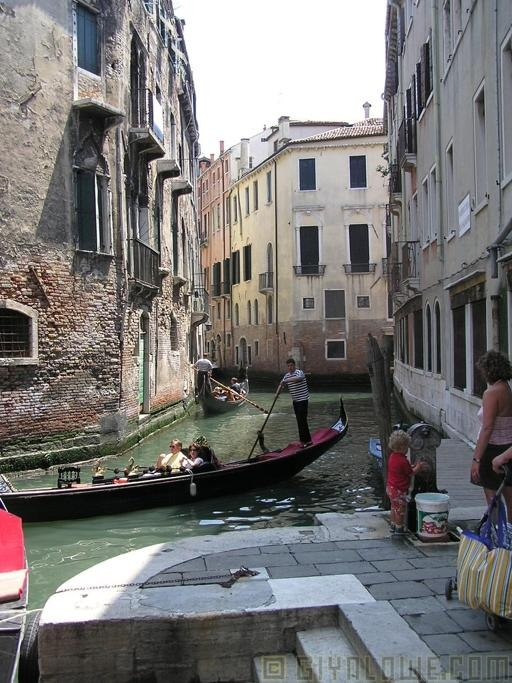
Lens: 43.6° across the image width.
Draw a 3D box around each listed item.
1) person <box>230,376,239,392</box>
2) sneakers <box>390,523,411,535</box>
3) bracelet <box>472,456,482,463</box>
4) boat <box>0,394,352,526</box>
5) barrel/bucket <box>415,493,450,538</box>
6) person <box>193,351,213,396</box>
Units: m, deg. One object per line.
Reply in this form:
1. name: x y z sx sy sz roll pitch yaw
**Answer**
1. person: -0.960 1.905 29.254 0.658 0.710 2.002 0 -3 0
2. sneakers: 1.247 1.620 5.536 0.173 0.088 0.064 0 4 -3
3. bracelet: 1.518 0.812 4.410 0.040 0.030 0.059 0 -1 5
4. boat: -1.578 2.163 11.891 6.580 1.922 1.293 -6 2 -44
5. barrel/bucket: 1.477 1.399 5.278 0.297 0.338 0.303 -1 -1 0
6. person: -1.997 1.284 25.854 0.479 0.892 2.301 -14 34 -21
